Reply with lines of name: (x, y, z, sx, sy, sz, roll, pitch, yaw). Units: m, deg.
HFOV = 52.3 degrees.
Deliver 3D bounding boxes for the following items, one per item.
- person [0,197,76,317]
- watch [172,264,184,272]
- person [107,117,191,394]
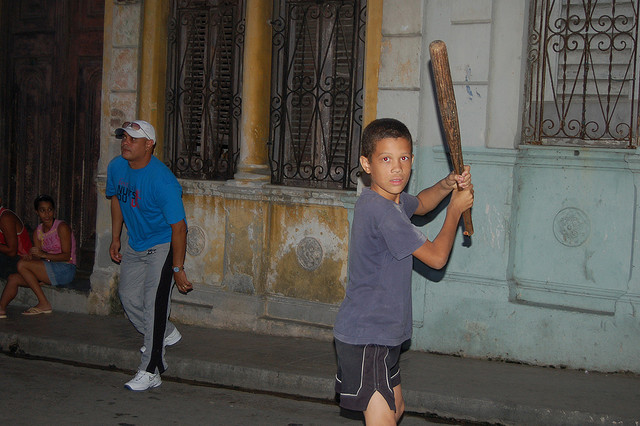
person: (-3.889, 0.563, 9.010, 0.922, 1.603, 0.618, 2, 5, -23)
watch: (-1.526, 0.584, 6.955, 0.107, 0.060, 0.068, 2, 5, -20)
person: (-1.869, 0.444, 6.981, 0.992, 2.830, 0.491, 6, 5, 29)
